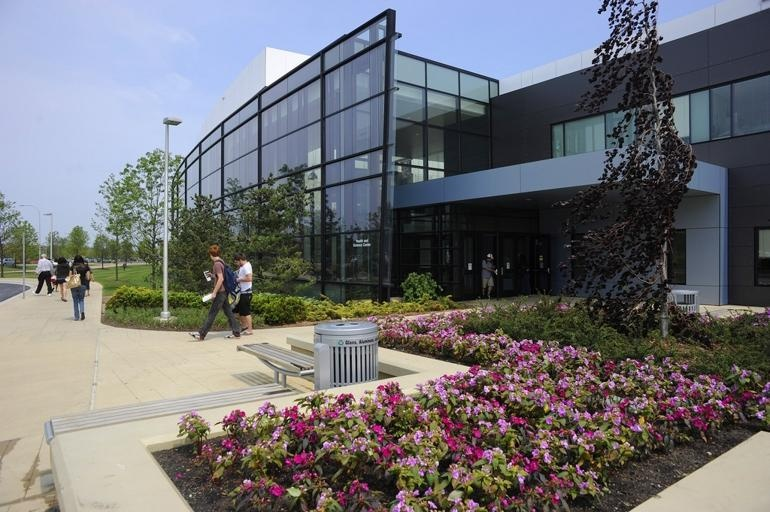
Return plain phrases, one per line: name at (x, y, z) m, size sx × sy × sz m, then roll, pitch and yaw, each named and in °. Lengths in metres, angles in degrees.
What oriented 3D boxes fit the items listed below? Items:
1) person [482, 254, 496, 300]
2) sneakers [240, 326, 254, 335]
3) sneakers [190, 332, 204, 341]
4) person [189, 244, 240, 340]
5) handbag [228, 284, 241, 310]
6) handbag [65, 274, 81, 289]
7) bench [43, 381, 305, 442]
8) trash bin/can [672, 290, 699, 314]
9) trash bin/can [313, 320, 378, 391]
person at (4.216, 0.826, 19.857) m, size 0.587 × 1.846 × 1.181 m, roll -1°, pitch -1°, yaw 13°
sneakers at (-3.429, 1.849, 11.915) m, size 0.161 × 0.179 × 0.410 m, roll 1°, pitch -1°, yaw -25°
sneakers at (-4.484, 1.937, 11.479) m, size 0.360 × 0.151 × 0.180 m, roll 9°, pitch -2°, yaw 31°
person at (-4.107, 0.861, 11.742) m, size 1.058 × 2.269 × 1.534 m, roll 0°, pitch -2°, yaw -22°
handbag at (-3.584, 1.024, 11.456) m, size 0.326 × 0.459 × 0.312 m, roll -1°, pitch 7°, yaw -29°
handbag at (-9.628, 0.783, 14.903) m, size 0.334 × 0.441 × 0.648 m, roll 1°, pitch -2°, yaw -34°
bench at (-2.684, 1.897, 5.977) m, size 2.594 × 0.295 × 0.745 m, roll 1°, pitch -3°, yaw -22°
trash bin/can at (7.154, 1.107, 11.531) m, size 0.623 × 0.656 × 0.624 m, roll -1°, pitch 2°, yaw -35°
trash bin/can at (-0.567, 1.414, 6.988) m, size 0.934 × 0.880 × 0.519 m, roll 0°, pitch -1°, yaw -10°
